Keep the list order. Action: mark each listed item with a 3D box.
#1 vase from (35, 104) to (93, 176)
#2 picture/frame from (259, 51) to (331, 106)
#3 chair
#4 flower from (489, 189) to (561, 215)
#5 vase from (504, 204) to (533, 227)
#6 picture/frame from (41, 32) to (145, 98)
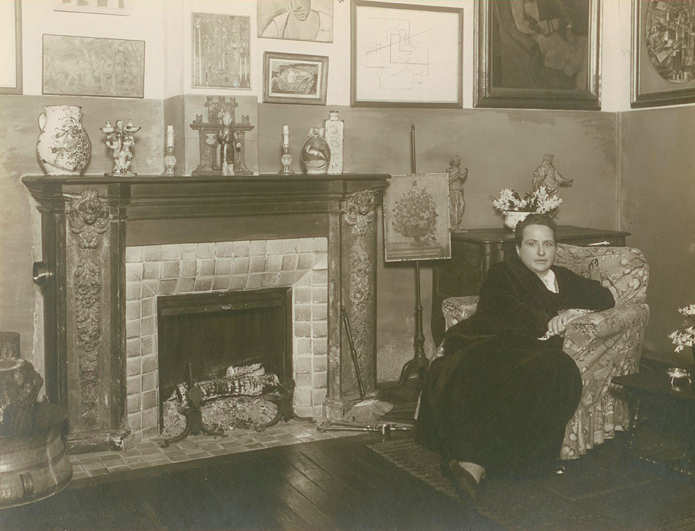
[{"bbox_3d":[-1.763,-0.780,4.176,0.295,0.420,0.309,2,8,3],"label":"vase"},{"bbox_3d":[-0.395,-1.322,4.712,0.393,0.296,0.016,-1,4,-22],"label":"picture/frame"},{"bbox_3d":[1.306,0.479,4.454,0.969,1.252,1.095,-5,4,-36],"label":"chair"},{"bbox_3d":[1.379,-0.496,5.326,0.328,0.160,0.344,0,1,-42],"label":"flower"},{"bbox_3d":[1.308,-0.380,5.204,0.205,0.156,0.194,2,4,29],"label":"vase"},{"bbox_3d":[-1.622,-1.268,4.205,0.430,0.266,0.016,-3,15,-21],"label":"picture/frame"}]
